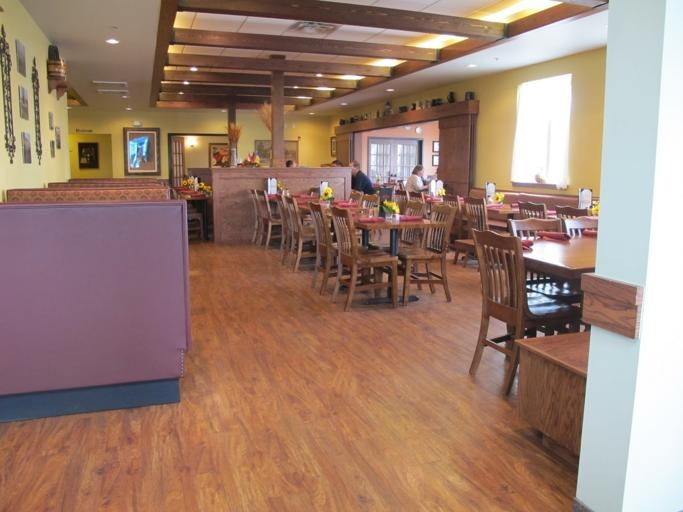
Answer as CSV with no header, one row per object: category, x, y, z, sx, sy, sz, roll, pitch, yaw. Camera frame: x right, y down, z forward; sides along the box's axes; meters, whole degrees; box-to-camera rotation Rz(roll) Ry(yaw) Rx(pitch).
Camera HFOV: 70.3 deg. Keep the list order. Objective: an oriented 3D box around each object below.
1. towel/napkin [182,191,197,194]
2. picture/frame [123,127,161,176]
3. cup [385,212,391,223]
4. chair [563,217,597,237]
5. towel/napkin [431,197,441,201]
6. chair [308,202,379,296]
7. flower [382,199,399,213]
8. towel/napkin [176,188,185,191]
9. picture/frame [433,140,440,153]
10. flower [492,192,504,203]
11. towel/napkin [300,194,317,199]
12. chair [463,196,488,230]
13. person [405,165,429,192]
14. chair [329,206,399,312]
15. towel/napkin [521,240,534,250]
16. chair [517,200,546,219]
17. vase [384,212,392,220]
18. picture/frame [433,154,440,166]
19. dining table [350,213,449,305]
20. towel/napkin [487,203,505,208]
towel/napkin,-3.343,-1.411,10.679,0.166,0.044,0.179,0,3,-12
picture/frame,-6.692,-3.568,16.147,1.551,2.133,0.159,-2,8,-21
cup,0.510,-0.428,5.261,0.066,0.097,0.094,1,14,6
chair,2.182,-0.265,4.435,0.176,0.313,0.202,-1,17,-1
towel/napkin,1.775,-1.064,9.001,0.193,0.069,0.280,4,14,16
chair,-0.196,-0.126,6.262,0.980,1.444,0.824,-4,13,-15
flower,0.533,-0.564,5.334,0.152,0.103,0.149,8,-8,-34
towel/napkin,-4.101,-1.715,12.355,0.239,0.064,0.251,-5,11,-38
picture/frame,3.251,-3.810,16.900,0.154,0.384,0.188,5,15,20
flower,2.826,-1.050,8.777,0.187,0.185,0.729,3,14,15
towel/napkin,-0.597,-1.079,8.773,0.325,0.078,0.322,-1,4,-17
chair,1.958,-0.611,6.932,0.222,0.449,0.562,-5,14,-17
person,1.501,-1.592,9.901,0.348,0.511,0.917,2,13,7
chair,0.260,-0.042,5.599,0.740,1.128,1.244,-1,14,-2
towel/napkin,1.396,-0.086,3.642,0.084,0.076,0.064,-18,17,-16
chair,2.386,-0.561,6.053,0.228,0.200,0.518,-1,13,-5
vase,0.512,-0.438,5.280,0.062,0.115,0.062,3,2,4
picture/frame,3.245,-3.347,16.804,0.140,0.386,0.252,-3,14,-9
dining table,0.647,-0.142,5.692,0.922,1.083,1.575,-1,6,-10
towel/napkin,2.577,-0.846,8.120,0.241,0.059,0.242,0,2,20
